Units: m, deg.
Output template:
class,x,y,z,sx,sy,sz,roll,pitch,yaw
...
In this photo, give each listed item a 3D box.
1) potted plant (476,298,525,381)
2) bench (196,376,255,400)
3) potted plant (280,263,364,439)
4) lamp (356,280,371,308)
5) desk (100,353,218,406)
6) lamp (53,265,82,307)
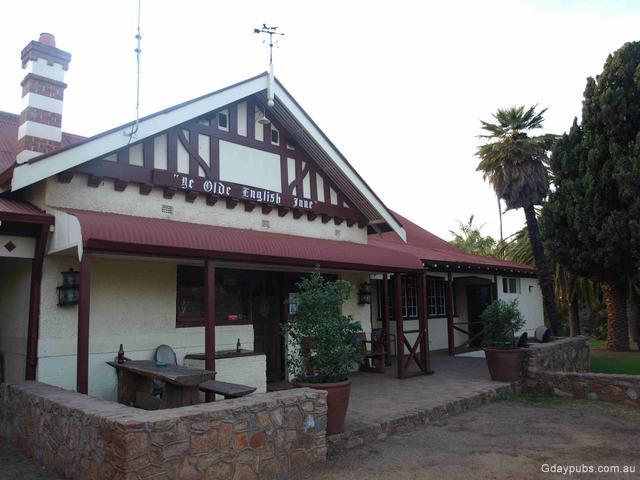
class,x,y,z,sx,sy,sz,roll,pitch,yaw
potted plant,4.976,2.685,14.510,1.245,2.199,0.828,1,-11,-24
bench,-1.723,2.700,9.676,0.653,0.374,1.264,3,-14,-33
potted plant,0.092,2.010,10.014,1.376,3.121,0.639,-4,-10,3
lamp,1.451,1.628,16.699,0.548,0.956,0.621,-1,-5,11
desk,-3.073,2.691,10.142,0.988,0.910,2.522,7,-16,-43
lamp,-5.218,0.977,11.042,0.391,0.769,0.268,6,-14,-43
